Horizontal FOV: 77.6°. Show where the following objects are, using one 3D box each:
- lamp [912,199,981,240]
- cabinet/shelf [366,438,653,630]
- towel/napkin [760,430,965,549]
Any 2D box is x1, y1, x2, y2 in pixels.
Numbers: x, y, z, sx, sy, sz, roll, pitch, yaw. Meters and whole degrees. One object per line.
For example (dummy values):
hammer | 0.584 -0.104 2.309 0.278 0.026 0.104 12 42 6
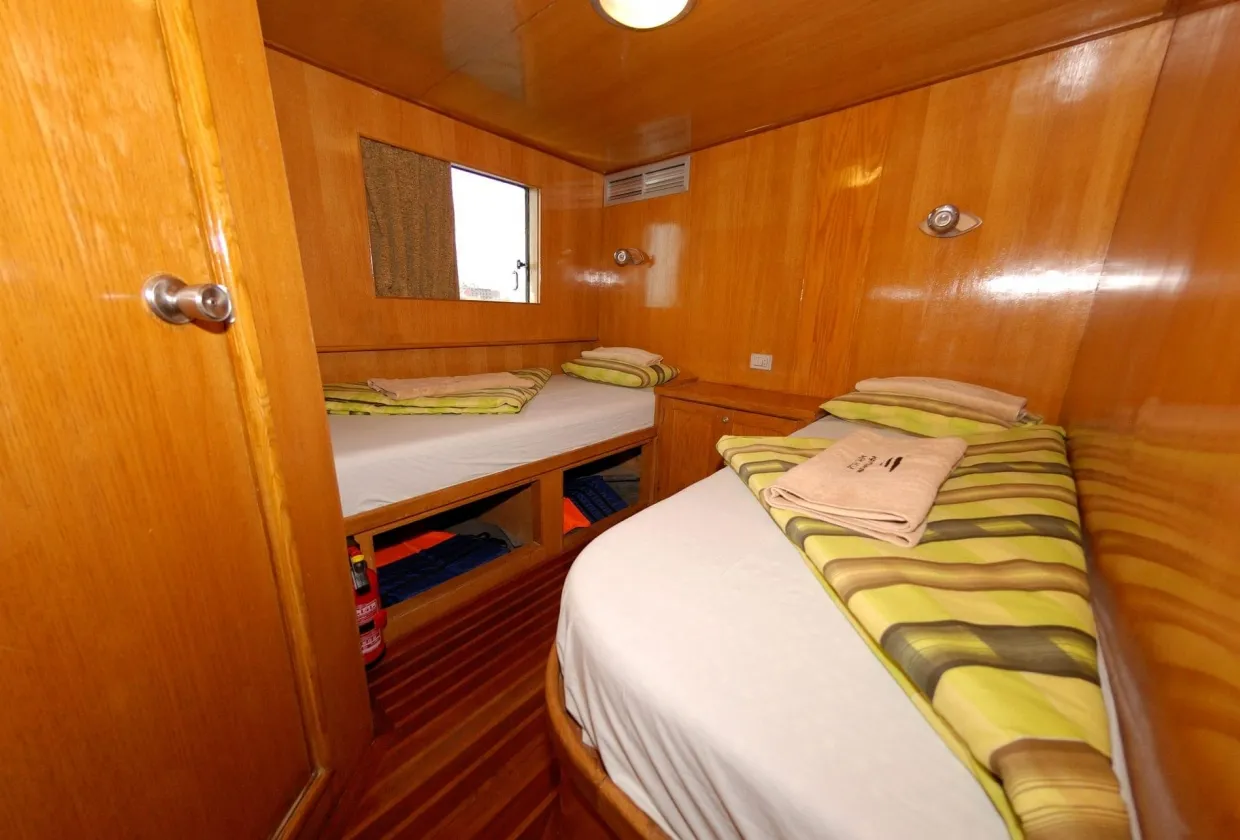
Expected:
lamp | 1.372 -0.840 3.277 0.065 0.134 0.246 -13 21 -42
cabinet/shelf | -0.551 0.374 3.666 0.600 0.557 1.929 10 18 37
towel/napkin | 0.803 0.159 2.428 0.433 0.091 0.738 19 26 32
